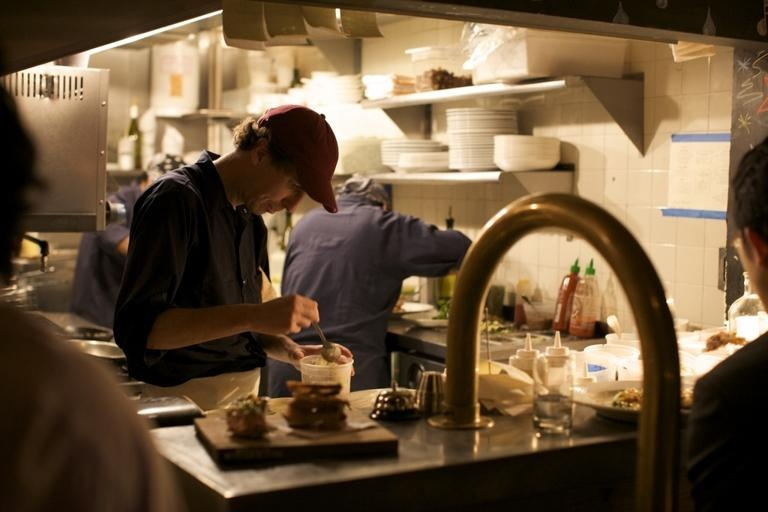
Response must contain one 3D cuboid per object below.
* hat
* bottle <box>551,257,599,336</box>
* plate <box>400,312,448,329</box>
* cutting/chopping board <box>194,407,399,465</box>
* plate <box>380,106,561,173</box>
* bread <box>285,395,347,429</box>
[{"bbox_3d":[-0.280,-0.313,2.256,0.272,0.324,0.159,4,6,-6],"label":"hat"},{"bbox_3d":[0.960,0.199,3.481,0.178,0.371,0.235,3,6,-13],"label":"bottle"},{"bbox_3d":[0.223,0.350,3.783,0.219,0.044,0.211,-2,4,-3],"label":"plate"},{"bbox_3d":[-0.183,0.356,1.427,0.402,0.064,0.207,3,7,-10],"label":"cutting/chopping board"},{"bbox_3d":[0.556,-0.583,3.641,0.385,0.239,0.466,-3,5,-25],"label":"plate"},{"bbox_3d":[-0.130,0.308,1.387,0.094,0.032,0.069,3,0,-13],"label":"bread"}]
